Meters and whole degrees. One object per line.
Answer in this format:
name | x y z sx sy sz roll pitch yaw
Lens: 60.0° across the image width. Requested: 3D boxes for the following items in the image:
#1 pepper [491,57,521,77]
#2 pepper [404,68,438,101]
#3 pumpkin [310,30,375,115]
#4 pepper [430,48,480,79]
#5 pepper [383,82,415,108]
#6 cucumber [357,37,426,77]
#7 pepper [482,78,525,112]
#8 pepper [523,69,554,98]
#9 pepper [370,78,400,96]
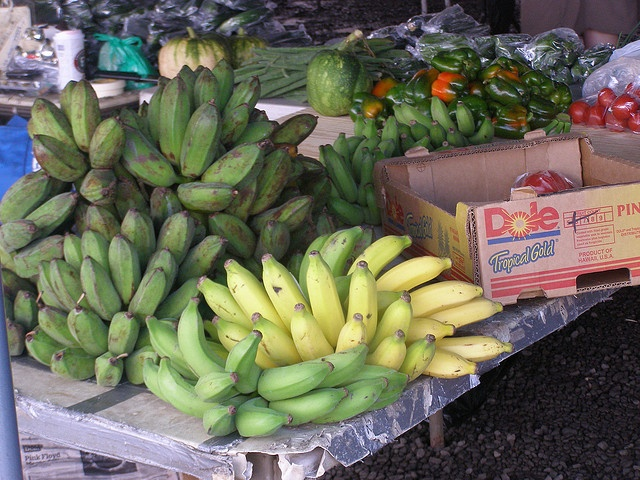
pepper | 1.165 -1.076 3.452 0.172 0.132 0.079 -7 16 23
pepper | 0.627 -0.947 3.373 0.124 0.138 0.267 24 35 11
pumpkin | 0.151 -1.040 3.602 0.396 0.579 0.368 -17 30 -35
pepper | 0.873 -1.089 3.376 0.290 0.205 0.331 -17 27 -37
pepper | 0.487 -0.875 3.361 0.148 0.113 0.203 9 12 5
cucumber | 0.478 -1.296 3.992 0.588 0.217 0.239 9 15 11
pepper | 1.045 -0.838 3.184 0.223 0.135 0.119 41 23 12
pepper | 1.372 -0.984 3.515 0.181 0.157 0.349 13 29 32
pepper | 0.421 -0.994 3.585 0.160 0.120 0.091 -29 47 -13
